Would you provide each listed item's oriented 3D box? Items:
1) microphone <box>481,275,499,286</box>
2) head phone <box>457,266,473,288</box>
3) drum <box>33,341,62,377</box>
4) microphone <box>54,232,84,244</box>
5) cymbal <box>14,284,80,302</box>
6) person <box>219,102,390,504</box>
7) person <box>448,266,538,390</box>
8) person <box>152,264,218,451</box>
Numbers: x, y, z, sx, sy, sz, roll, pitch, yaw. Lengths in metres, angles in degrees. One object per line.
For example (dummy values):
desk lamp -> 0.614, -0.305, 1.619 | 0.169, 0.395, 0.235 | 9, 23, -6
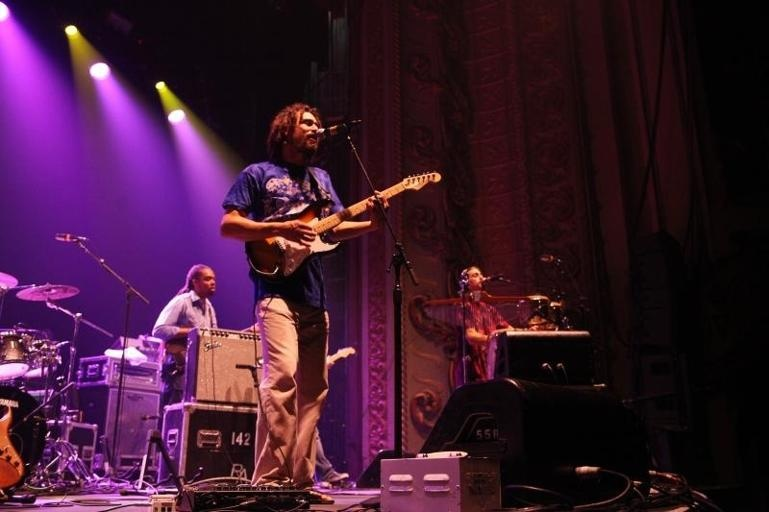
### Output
microphone -> 1.102, 0.254, 7.289 | 0.329, 0.102, 0.086 | -2, 2, -41
head phone -> 0.878, 0.267, 7.573 | 0.166, 0.224, 0.226 | -1, -44, 3
drum -> -3.804, 1.140, 7.793 | 0.257, 0.409, 0.447 | 5, -16, -21
microphone -> -4.081, -0.232, 8.902 | 0.083, 0.107, 0.520 | -45, -4, 18
cymbal -> -4.089, 0.436, 8.443 | 0.660, 0.253, 0.330 | -2, -15, 4
person -> -0.744, 0.206, 5.340 | 1.061, 3.005, 0.554 | 4, -15, -18
person -> 1.012, 0.641, 7.286 | 0.612, 1.339, 0.903 | -2, -15, 5
person -> -2.196, 0.838, 7.615 | 0.638, 1.680, 1.148 | 4, -15, -14
